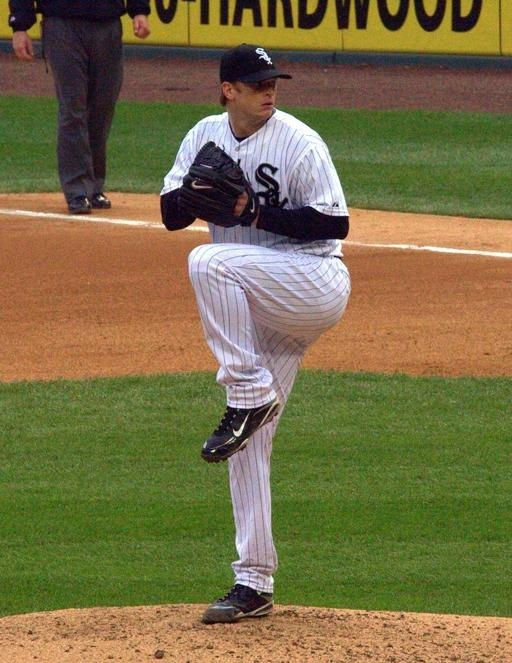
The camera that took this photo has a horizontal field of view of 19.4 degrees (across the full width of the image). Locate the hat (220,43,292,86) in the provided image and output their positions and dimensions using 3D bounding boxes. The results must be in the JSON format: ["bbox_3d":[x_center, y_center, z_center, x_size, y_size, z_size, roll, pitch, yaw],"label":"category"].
[{"bbox_3d":[-0.042,-1.084,6.114,0.248,0.133,0.163,1,9,39],"label":"hat"}]

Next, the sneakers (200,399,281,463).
[{"bbox_3d":[-0.058,0.435,6.337,0.357,0.185,0.129,-42,33,-4],"label":"sneakers"}]

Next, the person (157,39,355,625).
[{"bbox_3d":[0.009,0.034,6.215,0.752,2.399,0.616,-2,12,-8],"label":"person"}]

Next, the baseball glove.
[{"bbox_3d":[-0.171,-0.563,5.988,0.248,0.344,0.162,-21,1,31],"label":"baseball glove"}]

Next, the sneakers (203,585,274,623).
[{"bbox_3d":[-0.089,1.129,6.261,0.322,0.159,0.115,-4,6,-26],"label":"sneakers"}]
